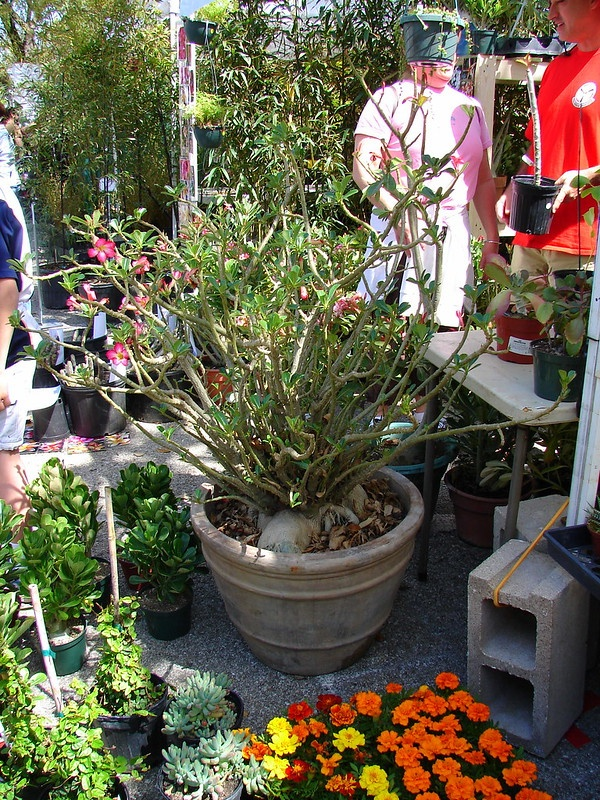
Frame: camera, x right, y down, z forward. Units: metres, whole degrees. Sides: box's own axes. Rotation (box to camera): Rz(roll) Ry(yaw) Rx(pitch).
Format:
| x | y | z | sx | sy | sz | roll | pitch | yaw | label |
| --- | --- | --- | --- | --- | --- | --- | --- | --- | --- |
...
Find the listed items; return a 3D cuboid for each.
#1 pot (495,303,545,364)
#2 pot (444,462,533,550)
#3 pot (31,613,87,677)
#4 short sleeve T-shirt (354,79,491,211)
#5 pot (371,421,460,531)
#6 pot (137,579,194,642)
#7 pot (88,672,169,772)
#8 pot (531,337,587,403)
| x | y | z | sx | sy | sz | roll | pitch | yaw | label |
| --- | --- | --- | --- | --- | --- | --- | --- | --- | --- |
| 0.575 | -0.185 | 1.672 | 0.170 | 0.144 | 0.190 | 0 | 18 | 2 | pot |
| 0.706 | 0.455 | 2.260 | 0.256 | 0.189 | 0.262 | 11 | 4 | -1 | pot |
| -0.660 | 0.717 | 1.695 | 0.166 | 0.127 | 0.183 | -1 | 9 | 0 | pot |
| 0.455 | -0.970 | 2.267 | 0.398 | 0.489 | 0.636 | 6 | 16 | 29 | short sleeve T-shirt |
| 0.432 | 0.241 | 2.325 | 0.364 | 0.296 | 0.381 | -1 | 18 | 0 | pot |
| -0.415 | 0.654 | 1.844 | 0.149 | 0.106 | 0.156 | 0 | 9 | 0 | pot |
| -0.369 | 0.717 | 1.303 | 0.156 | 0.126 | 0.167 | -2 | 6 | 0 | pot |
| 0.607 | -0.056 | 1.381 | 0.117 | 0.120 | 0.118 | -2 | 14 | 1 | pot |
